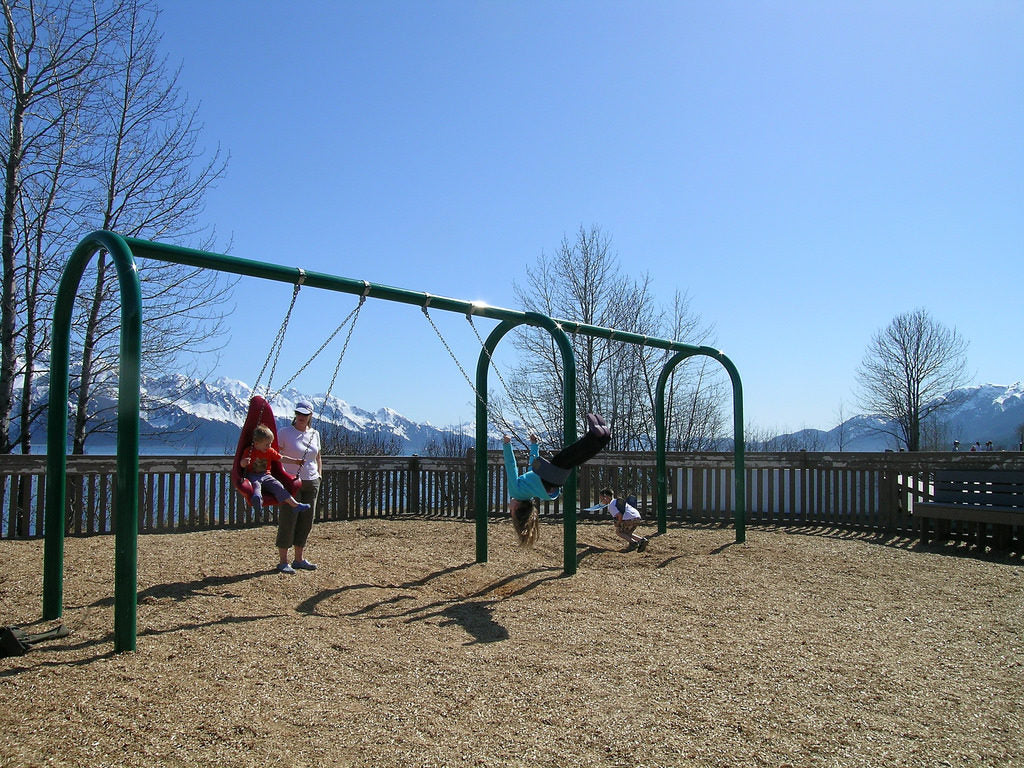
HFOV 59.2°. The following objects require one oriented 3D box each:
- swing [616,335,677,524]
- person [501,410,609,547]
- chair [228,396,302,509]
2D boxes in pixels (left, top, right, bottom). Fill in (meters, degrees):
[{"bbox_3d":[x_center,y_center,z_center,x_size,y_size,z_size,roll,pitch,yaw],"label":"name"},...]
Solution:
[{"bbox_3d":[2.625,0.848,17.883,0.680,3.814,0.600,6,3,8],"label":"swing"},{"bbox_3d":[0.467,1.037,9.847,1.120,1.437,0.736,0,1,-2],"label":"person"},{"bbox_3d":[-2.627,0.825,9.638,0.630,1.338,0.648,2,3,-20],"label":"chair"}]
